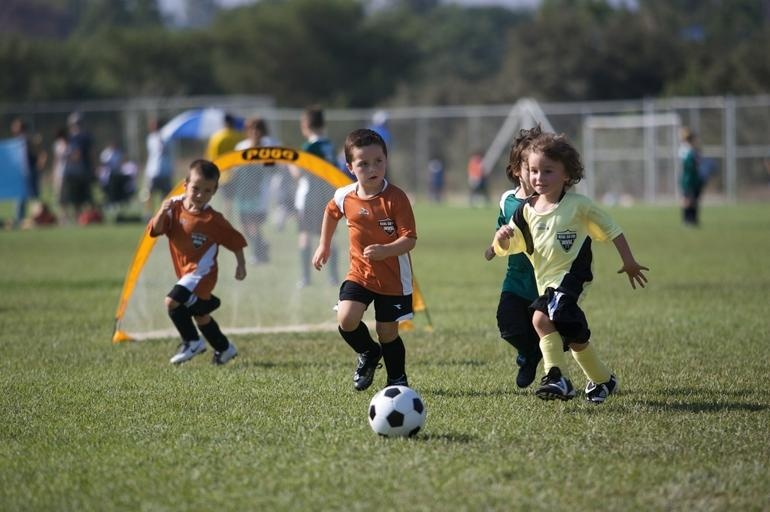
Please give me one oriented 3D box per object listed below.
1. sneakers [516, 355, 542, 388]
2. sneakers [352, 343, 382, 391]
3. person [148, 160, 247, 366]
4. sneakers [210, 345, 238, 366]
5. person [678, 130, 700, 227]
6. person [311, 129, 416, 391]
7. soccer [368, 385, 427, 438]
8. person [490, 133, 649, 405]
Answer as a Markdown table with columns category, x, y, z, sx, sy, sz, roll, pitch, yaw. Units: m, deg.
| category | x | y | z | sx | sy | sz | roll | pitch | yaw |
| --- | --- | --- | --- | --- | --- | --- | --- | --- | --- |
| sneakers | 1.277 | 1.009 | 9.046 | 0.131 | 0.379 | 0.160 | 20 | 21 | 32 |
| sneakers | -0.162 | 1.005 | 9.199 | 0.178 | 0.494 | 0.210 | 13 | -6 | 28 |
| person | -1.785 | 0.059 | 9.615 | 0.888 | 1.933 | 0.443 | -4 | 6 | -12 |
| sneakers | -1.545 | 0.945 | 9.761 | 0.106 | 0.145 | 0.318 | -9 | 8 | 38 |
| person | 3.218 | -0.816 | 10.529 | 0.210 | 1.017 | 0.469 | -1 | 6 | 18 |
| person | -0.160 | 0.033 | 9.044 | 0.890 | 2.324 | 0.539 | -1 | 6 | 16 |
| soccer | 0.101 | 1.309 | 8.493 | 0.421 | 0.429 | 0.398 | 4 | -20 | -12 |
| person | 1.564 | 0.103 | 8.857 | 1.177 | 2.363 | 0.507 | -2 | 6 | 5 |
